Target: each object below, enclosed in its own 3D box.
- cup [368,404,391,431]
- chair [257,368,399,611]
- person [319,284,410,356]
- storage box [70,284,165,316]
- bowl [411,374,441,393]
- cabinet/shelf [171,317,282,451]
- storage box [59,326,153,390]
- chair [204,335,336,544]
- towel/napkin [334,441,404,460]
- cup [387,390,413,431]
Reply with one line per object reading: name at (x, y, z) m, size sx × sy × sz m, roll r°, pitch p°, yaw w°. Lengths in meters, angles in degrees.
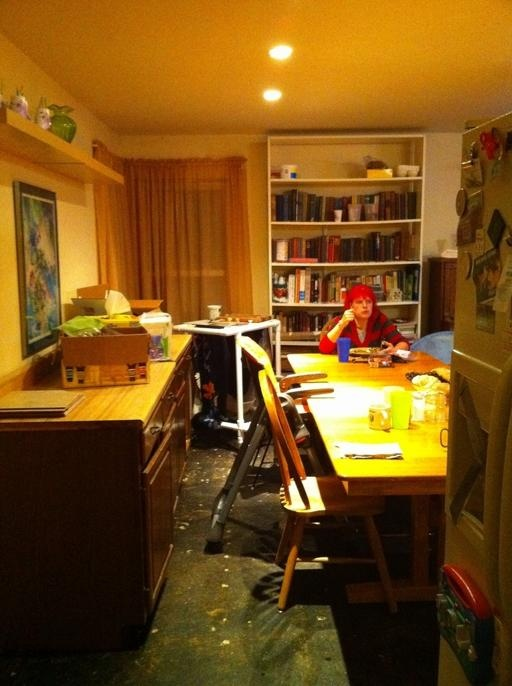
cup at (0.403, 0.238, 1.733) m, size 0.055 × 0.053 × 0.080 m, roll 0°, pitch 9°, yaw 6°
chair at (0.251, 0.496, 1.940) m, size 0.484 × 0.878 × 0.541 m, roll -2°, pitch 7°, yaw -4°
person at (0.677, -0.017, 3.435) m, size 0.545 × 0.696 × 0.394 m, roll 2°, pitch 4°, yaw -2°
storage box at (-0.880, -0.257, 3.301) m, size 0.529 × 0.203 × 1.136 m, roll -2°, pitch 7°, yaw -9°
bowl at (0.669, 0.159, 2.097) m, size 0.082 × 0.037 × 0.088 m, roll -6°, pitch 20°, yaw 2°
cabinet/shelf at (-0.091, 0.126, 4.150) m, size 0.837 × 1.043 × 1.145 m, roll -1°, pitch 9°, yaw 6°
storage box at (-0.609, 0.098, 2.227) m, size 0.424 × 0.200 × 0.422 m, roll -7°, pitch -10°, yaw 14°
chair at (0.095, 0.431, 2.530) m, size 0.774 × 0.837 × 0.746 m, roll -1°, pitch 7°, yaw -25°
towel/napkin at (0.319, 0.310, 1.522) m, size 0.188 × 0.014 × 0.107 m, roll -1°, pitch 7°, yaw 4°
cup at (0.480, 0.208, 1.773) m, size 0.069 × 0.139 × 0.196 m, roll 1°, pitch 7°, yaw 16°
